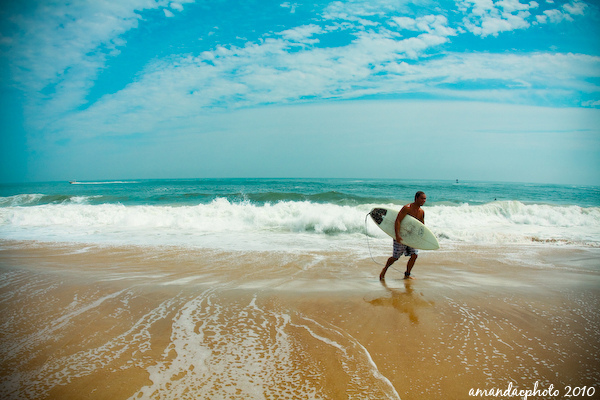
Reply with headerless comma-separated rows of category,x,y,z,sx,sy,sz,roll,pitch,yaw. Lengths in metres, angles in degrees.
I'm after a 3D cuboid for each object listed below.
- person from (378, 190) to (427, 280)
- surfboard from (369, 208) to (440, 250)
person,2.382,0.768,9.333,1.083,1.947,1.357,-3,2,15
surfboard,2.358,0.638,9.023,2.149,0.601,0.192,28,-7,-24
